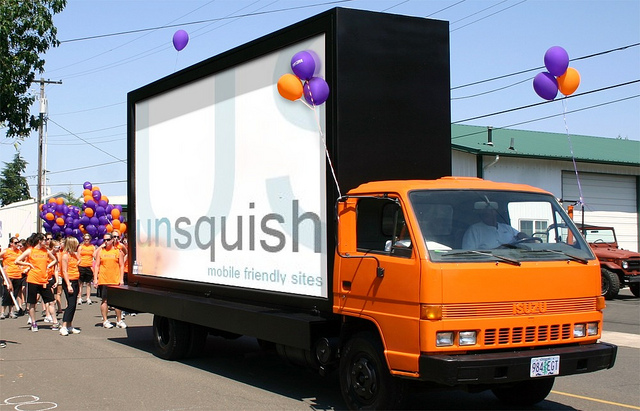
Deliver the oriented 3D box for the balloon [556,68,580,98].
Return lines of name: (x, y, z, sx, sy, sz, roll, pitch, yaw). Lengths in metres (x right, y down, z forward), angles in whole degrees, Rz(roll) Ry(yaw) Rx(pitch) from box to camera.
balloon: (4.033, -2.049, 9.955, 0.425, 0.471, 0.425, -3, 5, 32)

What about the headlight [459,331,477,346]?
headlight: (1.921, 1.704, 7.903, 0.295, 0.204, 0.161, -3, -6, 40)

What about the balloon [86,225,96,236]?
balloon: (-8.638, 0.924, 22.883, 0.357, 0.409, 0.354, 4, 3, 11)

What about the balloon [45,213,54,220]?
balloon: (-10.684, 0.410, 23.950, 0.254, 0.197, 0.186, 15, -57, -43)

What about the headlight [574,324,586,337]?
headlight: (3.588, 1.711, 8.386, 0.187, 0.164, 0.101, 2, -4, -26)

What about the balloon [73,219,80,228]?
balloon: (-9.480, 0.675, 23.564, 0.314, 0.321, 0.139, 2, 4, 41)

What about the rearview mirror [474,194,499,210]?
rearview mirror: (2.357, -0.053, 8.630, 0.237, 0.164, 0.025, 4, -30, -20)

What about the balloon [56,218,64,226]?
balloon: (-10.188, 0.613, 23.835, 0.253, 0.296, 0.251, 5, -13, 7)

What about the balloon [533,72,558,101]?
balloon: (3.657, -1.938, 9.812, 0.420, 0.436, 0.245, -1, 3, -19)

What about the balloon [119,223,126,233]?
balloon: (-7.734, 0.842, 23.732, 0.160, 0.384, 1.204, -1, 3, -13)

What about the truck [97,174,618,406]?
truck: (0.617, 1.362, 10.179, 3.132, 2.437, 6.365, 3, -6, -35)

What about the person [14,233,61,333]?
person: (-7.274, 1.968, 15.698, 0.930, 2.436, 1.304, -2, 3, -27)

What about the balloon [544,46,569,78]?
balloon: (3.769, -2.290, 9.658, 0.320, 0.454, 0.363, 1, 3, 21)

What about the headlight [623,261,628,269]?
headlight: (10.812, 2.070, 21.441, 0.218, 0.275, 0.054, -2, 3, -30)

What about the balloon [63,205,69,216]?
balloon: (-10.098, 0.098, 24.020, 0.203, 0.385, 0.158, -34, -48, 24)

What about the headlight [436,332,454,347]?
headlight: (1.612, 1.702, 7.886, 0.297, 0.209, 0.163, 0, -6, -3)

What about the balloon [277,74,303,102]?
balloon: (-0.468, -1.799, 9.396, 0.426, 0.271, 0.375, 24, 21, -15)

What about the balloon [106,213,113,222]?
balloon: (-8.171, 0.437, 23.428, 0.119, 0.255, 0.199, -35, -8, 16)

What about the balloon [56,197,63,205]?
balloon: (-10.409, -0.205, 24.148, 0.251, 0.300, 0.255, -9, -15, 44)

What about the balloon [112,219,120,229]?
balloon: (-7.661, 0.659, 22.774, 0.300, 0.351, 0.299, 11, 8, 1)

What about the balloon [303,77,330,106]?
balloon: (-0.047, -1.741, 9.174, 0.328, 0.435, 0.343, 2, 17, 11)
